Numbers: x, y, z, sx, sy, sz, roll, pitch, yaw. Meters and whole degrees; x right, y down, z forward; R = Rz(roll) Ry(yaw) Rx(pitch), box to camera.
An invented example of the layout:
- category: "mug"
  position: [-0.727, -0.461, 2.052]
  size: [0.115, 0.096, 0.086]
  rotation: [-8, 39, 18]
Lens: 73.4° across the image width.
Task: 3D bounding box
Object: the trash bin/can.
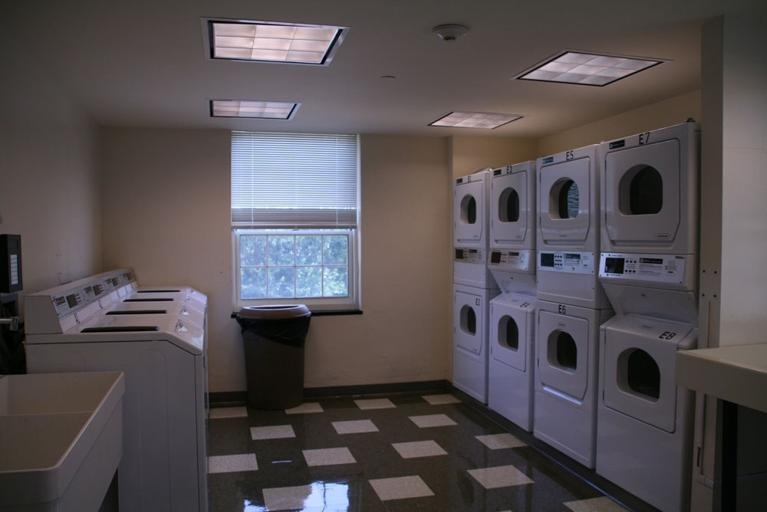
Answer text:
- category: "trash bin/can"
  position: [-1.161, 1.067, 5.568]
  size: [0.785, 1.043, 0.883]
  rotation: [0, 0, -35]
